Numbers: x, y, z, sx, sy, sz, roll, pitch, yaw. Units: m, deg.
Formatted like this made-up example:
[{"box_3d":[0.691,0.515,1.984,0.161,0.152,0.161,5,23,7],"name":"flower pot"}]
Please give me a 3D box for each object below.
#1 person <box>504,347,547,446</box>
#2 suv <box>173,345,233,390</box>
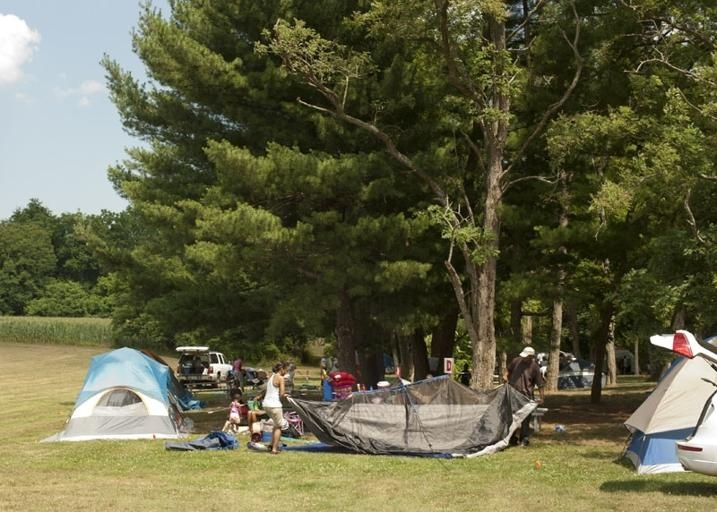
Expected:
[{"box_3d":[5.486,4.514,35.138,1.284,3.015,1.098,0,3,-2],"name":"person"},{"box_3d":[-7.893,5.641,54.381,2.055,2.270,5.123,0,-2,9],"name":"suv"}]
